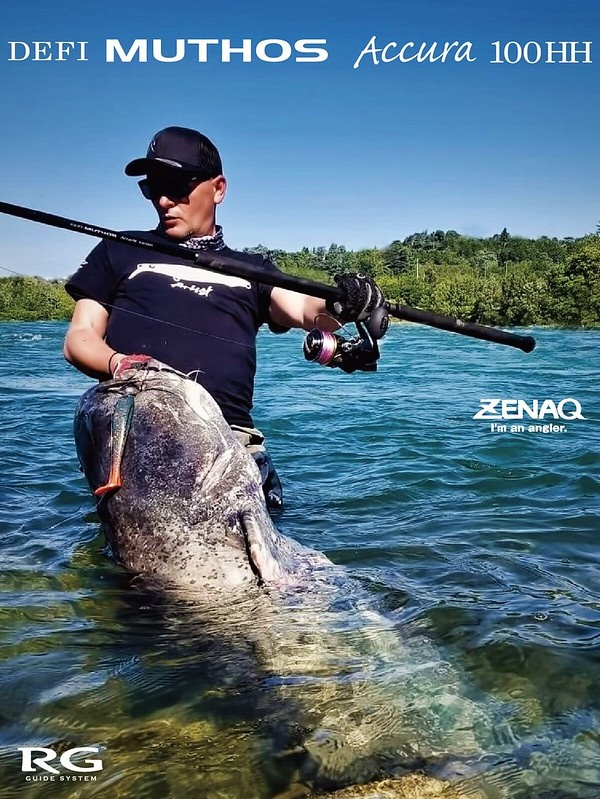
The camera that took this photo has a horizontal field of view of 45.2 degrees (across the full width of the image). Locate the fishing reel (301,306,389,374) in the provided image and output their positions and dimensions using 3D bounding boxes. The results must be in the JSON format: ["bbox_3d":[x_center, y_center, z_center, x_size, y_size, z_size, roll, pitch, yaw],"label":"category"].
[{"bbox_3d":[0.250,-0.337,3.718,0.469,0.381,0.221,9,11,-33],"label":"fishing reel"}]

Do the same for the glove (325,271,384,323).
[{"bbox_3d":[0.276,-0.500,3.531,0.311,0.119,0.233,0,-22,38],"label":"glove"}]

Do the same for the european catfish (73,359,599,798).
[{"bbox_3d":[0.052,0.434,2.787,1.171,1.112,1.999,-1,4,-32],"label":"european catfish"}]

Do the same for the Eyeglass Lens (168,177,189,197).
[{"bbox_3d":[-0.661,-1.160,3.940,0.109,0.083,0.019,-7,37,-7],"label":"Eyeglass Lens"}]

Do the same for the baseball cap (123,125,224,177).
[{"bbox_3d":[-0.696,-1.395,4.072,0.420,0.229,0.556,9,13,25],"label":"baseball cap"}]
